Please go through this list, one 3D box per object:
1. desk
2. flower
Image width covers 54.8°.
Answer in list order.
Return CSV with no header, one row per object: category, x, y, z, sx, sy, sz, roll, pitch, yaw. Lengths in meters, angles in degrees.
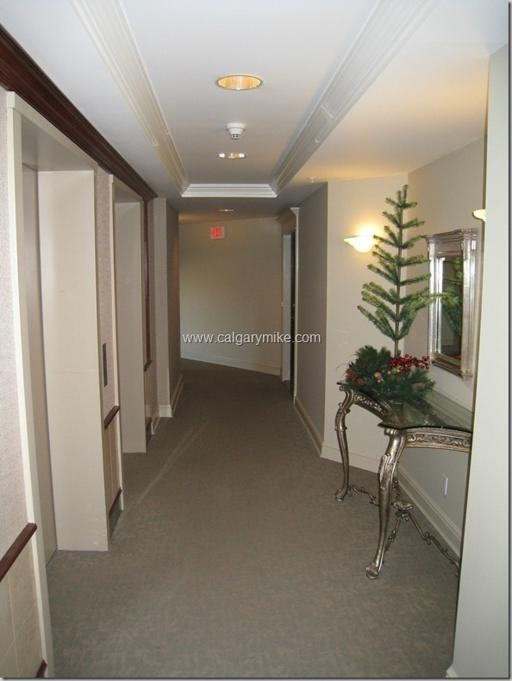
desk,0.855,0.752,2.929,0.609,0.832,1.010,2,8,-2
flower,0.851,0.207,3.157,0.589,0.267,0.591,-3,7,-30
